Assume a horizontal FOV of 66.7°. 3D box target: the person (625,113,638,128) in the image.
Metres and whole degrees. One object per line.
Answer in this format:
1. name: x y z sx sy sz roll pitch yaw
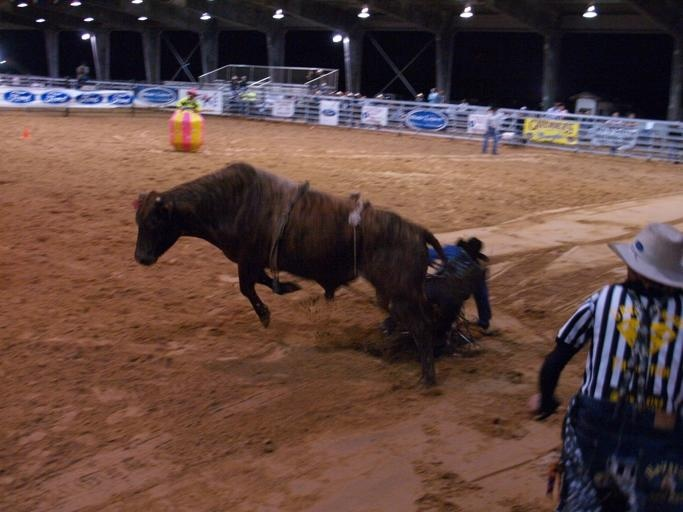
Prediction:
1. person: 11.410 -5.292 20.315 0.517 0.670 1.797 9 13 27

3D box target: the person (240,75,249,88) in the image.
1. person: -5.366 -9.623 28.507 0.419 0.683 1.153 0 12 -9

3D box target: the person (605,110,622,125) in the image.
1. person: 10.884 -5.463 20.631 0.511 0.619 2.026 9 13 26

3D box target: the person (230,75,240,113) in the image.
1. person: -5.830 -8.774 28.286 0.467 1.860 1.089 0 14 -11

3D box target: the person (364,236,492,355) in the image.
1. person: 1.367 0.263 5.913 0.521 0.871 1.666 -12 4 23
